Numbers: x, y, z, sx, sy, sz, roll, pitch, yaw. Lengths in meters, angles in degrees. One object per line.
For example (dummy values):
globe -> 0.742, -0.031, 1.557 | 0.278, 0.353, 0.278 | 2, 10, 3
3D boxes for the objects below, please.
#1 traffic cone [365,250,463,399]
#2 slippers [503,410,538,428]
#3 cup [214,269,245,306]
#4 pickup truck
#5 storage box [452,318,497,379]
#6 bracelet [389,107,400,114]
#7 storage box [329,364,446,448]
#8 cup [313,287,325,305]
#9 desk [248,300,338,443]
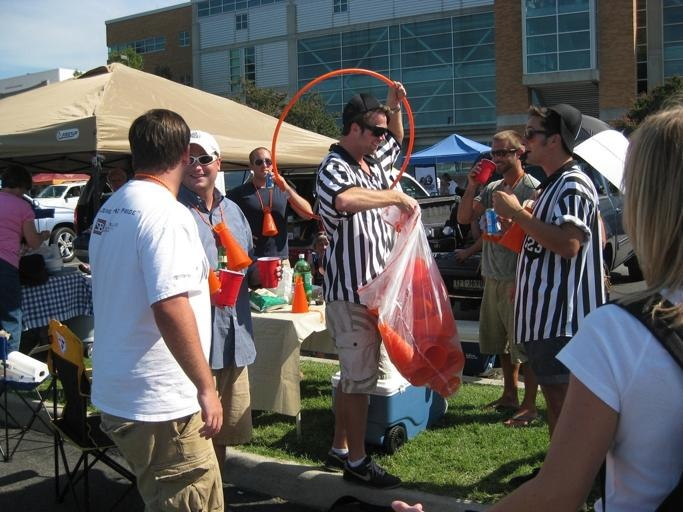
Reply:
traffic cone -> 0.454, 0.366, 4.196 | 0.438, 0.907, 0.318 | -21, -7, 12
slippers -> 1.336, 1.198, 5.210 | 0.188, 0.090, 0.109 | 1, -4, -8
cup -> -0.655, 0.185, 4.181 | 0.181, 0.207, 0.175 | 16, 0, 0
pickup truck -> 2.398, -0.206, 8.510 | 1.575, 1.650, 3.494 | -1, 14, 41
storage box -> 1.236, 0.870, 6.554 | 0.350, 0.702, 0.290 | 4, 6, 18
bracelet -> 0.356, -0.958, 4.670 | 0.068, 0.021, 0.065 | -18, 18, -39
storage box -> 0.374, 1.044, 5.137 | 0.452, 0.427, 0.757 | -3, -1, 38
cup -> -0.182, 0.309, 5.592 | 0.074, 0.066, 0.181 | 0, 20, 1
desk -> -0.283, 0.848, 5.354 | 0.744, 0.660, 0.737 | 4, 9, 32
